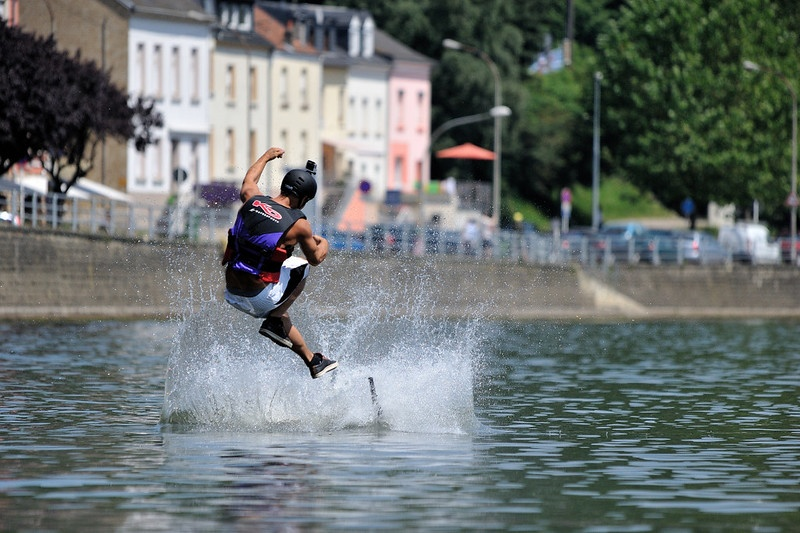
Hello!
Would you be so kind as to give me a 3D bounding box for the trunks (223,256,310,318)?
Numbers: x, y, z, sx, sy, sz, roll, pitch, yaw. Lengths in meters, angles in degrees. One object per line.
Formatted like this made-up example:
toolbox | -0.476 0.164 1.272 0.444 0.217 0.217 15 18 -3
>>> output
trunks | -2.109 0.391 30.282 1.064 1.140 0.433 48 13 -53
